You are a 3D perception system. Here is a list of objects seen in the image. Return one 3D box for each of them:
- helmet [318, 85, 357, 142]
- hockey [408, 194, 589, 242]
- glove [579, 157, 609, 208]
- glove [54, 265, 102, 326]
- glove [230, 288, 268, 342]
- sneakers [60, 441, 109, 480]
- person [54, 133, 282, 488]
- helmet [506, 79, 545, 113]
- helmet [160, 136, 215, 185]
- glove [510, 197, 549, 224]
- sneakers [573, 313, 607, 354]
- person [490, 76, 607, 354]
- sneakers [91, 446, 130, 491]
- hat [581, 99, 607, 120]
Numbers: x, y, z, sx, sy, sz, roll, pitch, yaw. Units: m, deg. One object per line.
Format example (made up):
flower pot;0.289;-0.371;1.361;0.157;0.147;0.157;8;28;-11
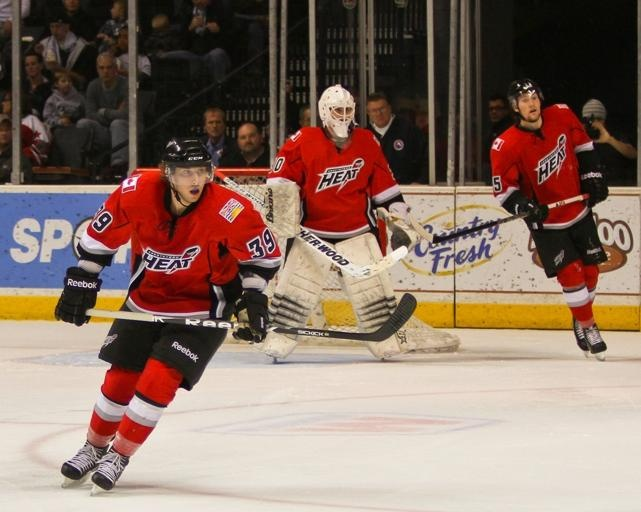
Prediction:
helmet;0.104;-0.946;6.468;0.240;0.377;0.204;1;7;15
hockey;1.353;-0.275;7.068;1.072;0.130;0.113;-13;48;7
glove;1.845;-0.505;6.553;0.156;0.189;0.335;-10;50;5
glove;-1.078;0.177;4.223;0.267;0.224;0.098;9;-5;-20
glove;-0.286;0.257;4.142;0.098;0.195;0.212;2;17;1
sneakers;-0.993;0.848;4.074;0.097;0.105;0.264;27;11;5
person;-0.640;0.217;4.103;0.971;1.418;0.473;-2;7;-15
helmet;1.409;-1.096;6.583;0.231;0.216;0.243;1;7;9
helmet;-0.567;-0.404;4.100;0.193;0.184;0.249;0;7;7
glove;1.399;-0.307;6.420;0.182;0.069;0.159;13;-27;23
sneakers;1.838;0.533;6.516;0.121;0.134;0.322;-21;29;11
person;1.556;-0.273;6.548;0.778;1.837;0.497;1;7;12
sneakers;-0.868;0.863;3.976;0.082;0.085;0.219;32;9;-8
hat;2.238;-1.181;7.838;0.188;0.156;0.184;-3;7;1
